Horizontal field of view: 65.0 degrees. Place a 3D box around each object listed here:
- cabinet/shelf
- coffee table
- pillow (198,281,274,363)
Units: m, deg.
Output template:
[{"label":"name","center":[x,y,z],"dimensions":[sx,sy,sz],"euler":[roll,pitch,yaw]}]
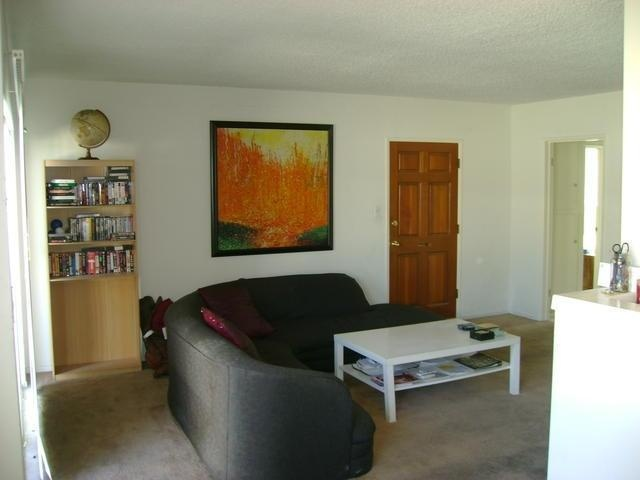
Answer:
[{"label":"cabinet/shelf","center":[-2.217,0.240,4.896],"dimensions":[0.905,1.977,0.232],"euler":[-2,2,-39]},{"label":"coffee table","center":[0.941,1.118,4.511],"dimensions":[1.851,0.615,1.289],"euler":[1,8,-27]},{"label":"pillow","center":[-0.726,0.663,4.418],"dimensions":[0.544,0.599,0.781],"euler":[1,2,40]}]
